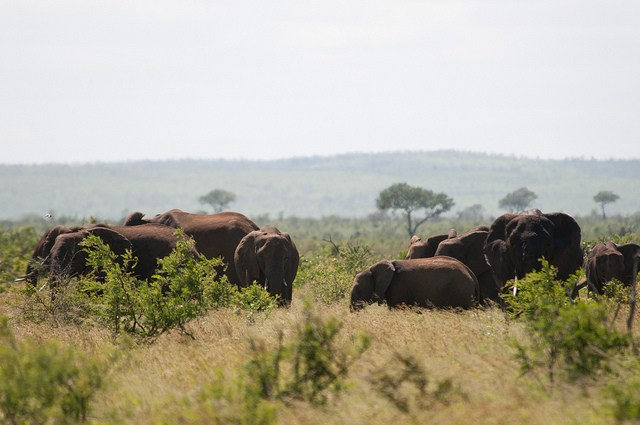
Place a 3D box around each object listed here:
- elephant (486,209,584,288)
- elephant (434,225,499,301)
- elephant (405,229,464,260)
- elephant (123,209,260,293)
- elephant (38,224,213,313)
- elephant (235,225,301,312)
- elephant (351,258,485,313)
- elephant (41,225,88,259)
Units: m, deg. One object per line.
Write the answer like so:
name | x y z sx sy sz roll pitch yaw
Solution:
elephant | 7.567 1.343 37.988 3.244 2.708 1.575 -1 7 8
elephant | 5.240 1.866 40.669 2.800 2.019 1.580 3 -6 -6
elephant | 4.089 1.161 41.936 1.480 1.411 3.329 5 -3 -43
elephant | -5.239 1.290 43.190 5.523 3.501 2.583 7 8 24
elephant | -7.664 2.554 40.128 6.994 4.361 3.200 1 -6 -27
elephant | -1.941 1.954 40.816 1.709 3.250 1.966 0 -1 33
elephant | 4.204 2.768 41.199 5.844 2.498 2.988 -1 -3 16
elephant | -9.541 1.033 39.996 1.900 1.211 0.850 -1 0 -15
